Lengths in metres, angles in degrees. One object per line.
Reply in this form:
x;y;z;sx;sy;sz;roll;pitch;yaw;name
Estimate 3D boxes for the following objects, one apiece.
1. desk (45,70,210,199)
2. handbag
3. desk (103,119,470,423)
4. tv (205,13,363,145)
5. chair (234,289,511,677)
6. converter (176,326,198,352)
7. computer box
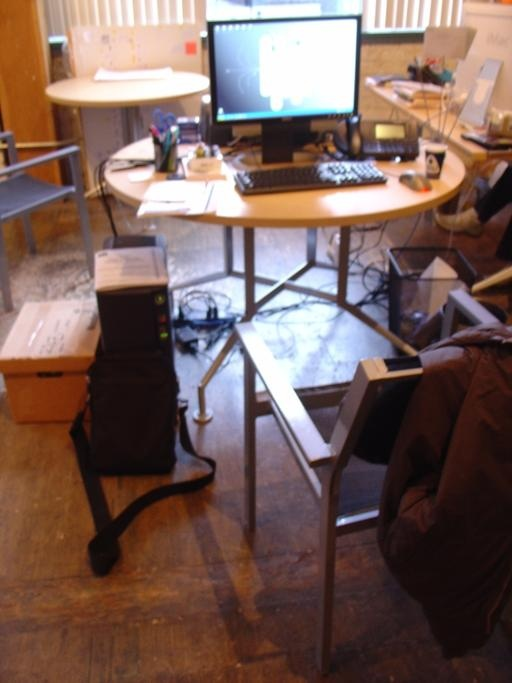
-0.744;-1.379;3.442;0.611;0.513;0.790;-5;50;-3;desk
-0.351;0.222;1.842;0.308;0.571;0.265;0;-1;-2;handbag
0.140;-0.349;2.076;0.964;0.793;1.199;-4;45;-6;desk
0.096;-0.839;1.799;0.390;0.322;0.049;-7;27;-10;tv
0.221;0.333;1.174;0.372;0.765;0.526;-10;41;-13;chair
-0.286;-0.020;2.325;0.067;0.095;0.128;-13;45;-26;converter
-0.386;-0.122;1.851;0.194;0.327;0.441;-4;45;-4;computer box
